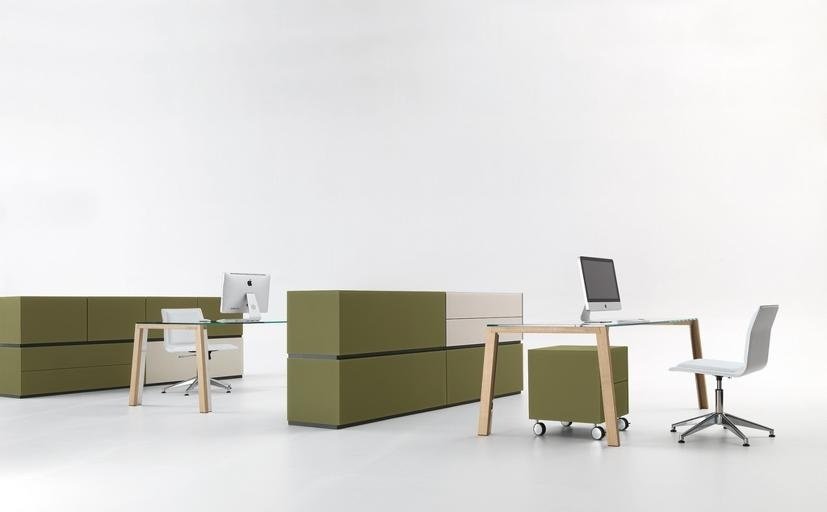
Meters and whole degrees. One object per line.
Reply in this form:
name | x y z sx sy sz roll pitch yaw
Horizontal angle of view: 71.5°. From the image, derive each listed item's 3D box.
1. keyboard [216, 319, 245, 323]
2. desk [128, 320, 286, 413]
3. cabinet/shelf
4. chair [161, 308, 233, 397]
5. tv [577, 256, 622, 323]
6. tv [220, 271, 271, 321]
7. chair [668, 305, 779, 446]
keyboard | -2.577 0.915 8.096 0.367 0.069 0.701 4 -9 -19
desk | -3.081 1.608 8.955 1.479 1.039 2.260 -1 -5 12
cabinet/shelf | 1.892 1.452 6.522 1.191 0.709 1.169 0 -7 4
chair | -3.271 1.417 8.835 1.061 1.231 1.102 -2 -3 8
tv | 2.193 0.407 6.962 0.270 0.707 0.849 -8 -8 43
tv | -2.396 0.606 8.473 0.761 0.680 0.350 3 -3 -44
chair | 3.385 1.272 6.361 1.089 1.351 1.175 -3 -7 38
